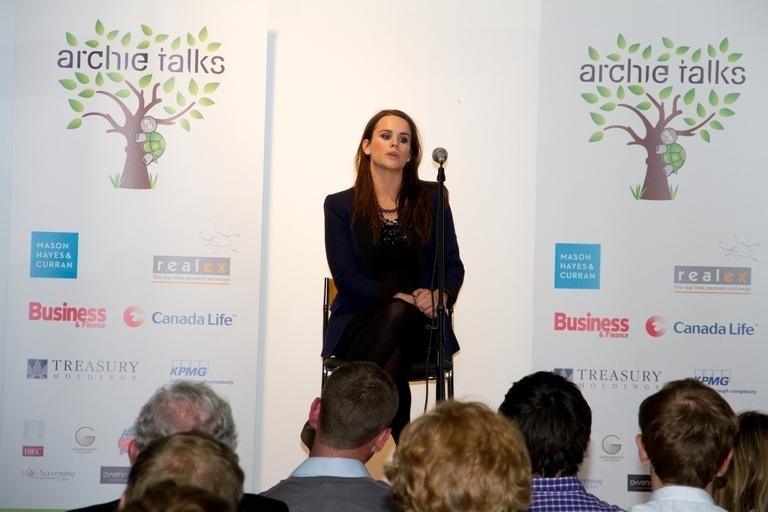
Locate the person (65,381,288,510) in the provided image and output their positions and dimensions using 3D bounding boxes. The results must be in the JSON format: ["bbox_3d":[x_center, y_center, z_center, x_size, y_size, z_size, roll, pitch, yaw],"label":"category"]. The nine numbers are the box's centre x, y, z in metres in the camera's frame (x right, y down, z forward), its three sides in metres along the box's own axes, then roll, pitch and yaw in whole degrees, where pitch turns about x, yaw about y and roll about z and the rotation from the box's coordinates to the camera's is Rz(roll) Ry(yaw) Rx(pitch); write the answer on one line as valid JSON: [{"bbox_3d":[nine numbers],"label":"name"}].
[{"bbox_3d":[-1.142,0.945,3.445,0.923,0.556,0.399,2,15,-15],"label":"person"}]

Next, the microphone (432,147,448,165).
[{"bbox_3d":[0.336,-0.624,4.178,0.065,0.115,0.149,0,-9,9],"label":"microphone"}]
